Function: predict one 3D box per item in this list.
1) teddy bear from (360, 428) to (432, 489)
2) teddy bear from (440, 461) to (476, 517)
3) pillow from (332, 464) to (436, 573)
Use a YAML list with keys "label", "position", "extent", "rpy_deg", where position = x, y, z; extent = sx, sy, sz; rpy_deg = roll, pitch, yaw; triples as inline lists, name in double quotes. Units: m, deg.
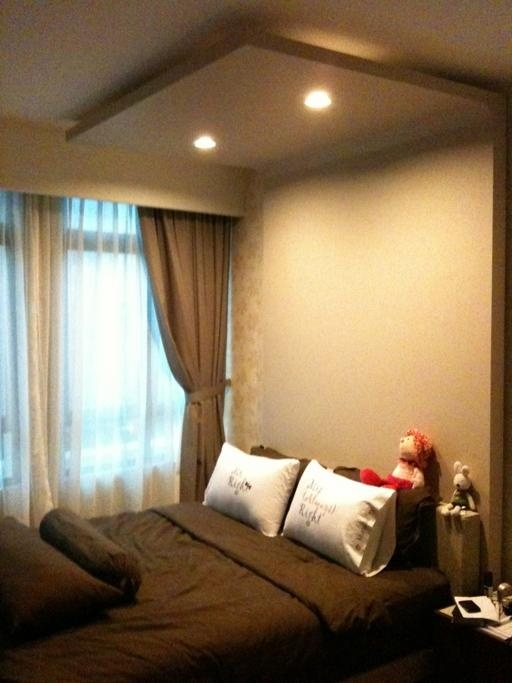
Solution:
- label: "teddy bear"
  position: [0.569, 0.472, 2.421]
  extent: [0.249, 0.281, 0.247]
  rpy_deg: [9, -4, 18]
- label: "teddy bear"
  position: [0.753, 0.552, 2.272]
  extent: [0.119, 0.192, 0.115]
  rpy_deg: [-1, -4, 2]
- label: "pillow"
  position: [0.478, 0.668, 2.227]
  extent: [0.282, 0.176, 0.396]
  rpy_deg: [0, 10, -4]
